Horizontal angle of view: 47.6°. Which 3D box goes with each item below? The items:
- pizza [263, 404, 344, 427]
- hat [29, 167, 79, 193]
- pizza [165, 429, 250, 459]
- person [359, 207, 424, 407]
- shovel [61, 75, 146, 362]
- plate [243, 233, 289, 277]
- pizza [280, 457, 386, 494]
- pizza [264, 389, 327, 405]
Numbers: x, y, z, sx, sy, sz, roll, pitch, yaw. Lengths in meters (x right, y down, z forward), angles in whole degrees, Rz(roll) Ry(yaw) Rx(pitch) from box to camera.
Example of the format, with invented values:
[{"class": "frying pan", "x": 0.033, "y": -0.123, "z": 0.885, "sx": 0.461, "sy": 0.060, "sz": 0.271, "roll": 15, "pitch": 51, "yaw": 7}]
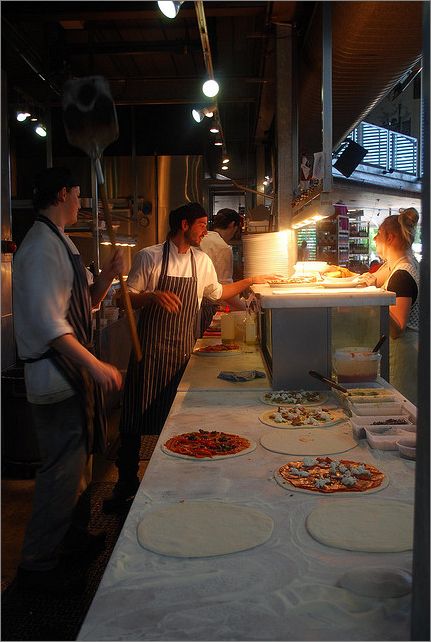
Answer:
[{"class": "pizza", "x": 0.308, "y": 0.336, "z": 1.723, "sx": 0.311, "sy": 0.021, "sz": 0.228, "roll": 0, "pitch": 5, "yaw": 3}, {"class": "hat", "x": -0.676, "y": -0.603, "z": 2.055, "sx": 0.143, "sy": 0.110, "sz": 0.112, "roll": -26, "pitch": 20, "yaw": -22}, {"class": "pizza", "x": -0.024, "y": 0.368, "z": 1.448, "sx": 0.258, "sy": 0.012, "sz": 0.193, "roll": -1, "pitch": 5, "yaw": -7}, {"class": "person", "x": 1.062, "y": -0.099, "z": 2.964, "sx": 0.293, "sy": 1.236, "sz": 1.399, "roll": 1, "pitch": 6, "yaw": 21}, {"class": "shovel", "x": -0.268, "y": -0.263, "z": 1.421, "sx": 0.188, "sy": 0.816, "sz": 0.043, "roll": -5, "pitch": 19, "yaw": 23}, {"class": "plate", "x": 0.357, "y": -0.475, "z": 3.459, "sx": 0.346, "sy": 0.345, "sz": 0.086, "roll": 1, "pitch": 3, "yaw": 41}, {"class": "pizza", "x": 0.285, "y": 0.381, "z": 1.225, "sx": 0.261, "sy": 0.022, "sz": 0.221, "roll": 1, "pitch": 6, "yaw": 20}, {"class": "pizza", "x": 0.318, "y": 0.307, "z": 1.972, "sx": 0.256, "sy": 0.031, "sz": 0.185, "roll": 0, "pitch": 5, "yaw": 4}]
